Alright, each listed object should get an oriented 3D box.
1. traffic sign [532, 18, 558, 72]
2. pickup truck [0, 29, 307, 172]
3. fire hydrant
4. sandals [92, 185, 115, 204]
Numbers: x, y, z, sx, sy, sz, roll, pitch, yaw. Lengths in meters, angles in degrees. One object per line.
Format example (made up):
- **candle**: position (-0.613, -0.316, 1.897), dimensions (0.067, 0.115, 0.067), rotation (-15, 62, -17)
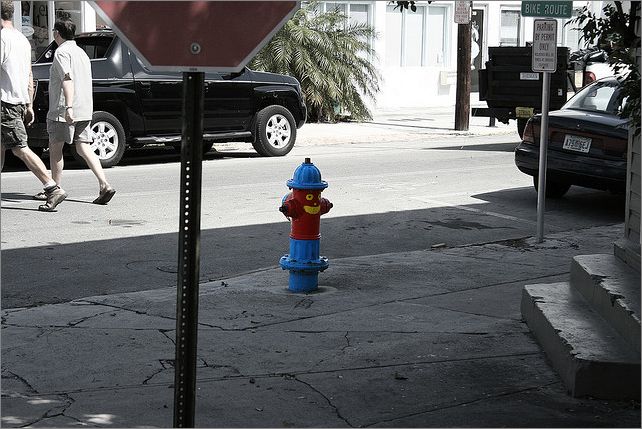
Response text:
- **traffic sign**: position (2.734, -2.038, 7.769), dimensions (0.309, 0.644, 0.423), rotation (6, 14, 16)
- **pickup truck**: position (-3.278, -2.480, 13.522), dimensions (6.585, 2.314, 2.870), rotation (-6, 8, -31)
- **fire hydrant**: position (-0.139, 0.096, 6.003), dimensions (0.465, 1.270, 0.334), rotation (2, 14, 0)
- **sandals**: position (-3.200, -0.287, 9.399), dimensions (0.296, 0.270, 0.327), rotation (-3, 14, -19)
